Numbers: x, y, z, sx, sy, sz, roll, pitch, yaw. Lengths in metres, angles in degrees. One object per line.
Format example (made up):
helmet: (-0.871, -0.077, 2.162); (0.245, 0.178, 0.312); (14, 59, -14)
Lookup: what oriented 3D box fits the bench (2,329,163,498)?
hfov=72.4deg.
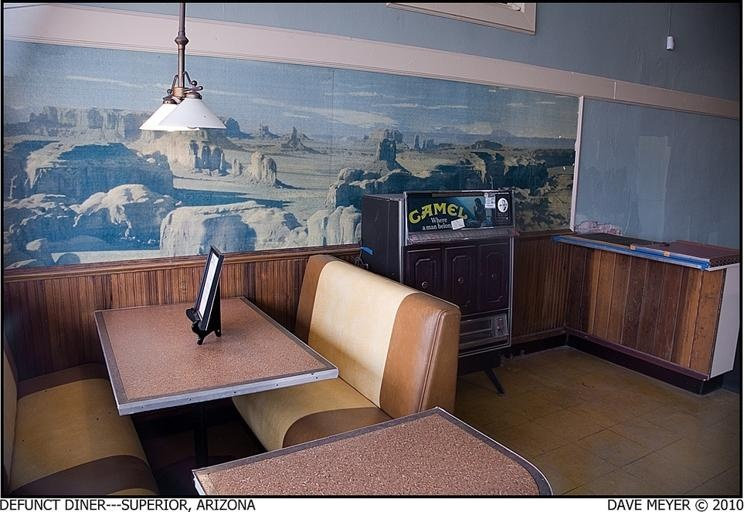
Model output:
bench: (-1.669, 0.890, 2.882); (0.503, 0.603, 0.944); (-15, 36, -30)

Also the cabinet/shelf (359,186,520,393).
cabinet/shelf: (0.590, 0.274, 4.421); (1.100, 1.699, 0.928); (-6, 7, -23)

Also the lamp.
lamp: (-1.117, -1.085, 2.857); (0.338, 0.726, 0.469); (-11, 14, -38)

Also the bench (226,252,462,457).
bench: (-0.354, 0.721, 3.526); (1.306, 1.033, 1.708); (-8, 15, -28)
